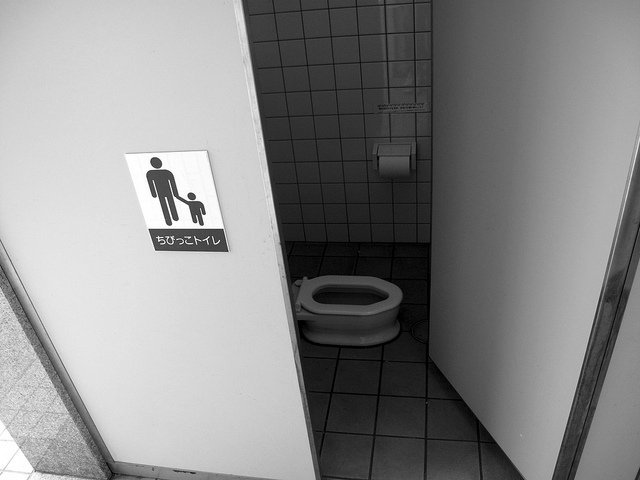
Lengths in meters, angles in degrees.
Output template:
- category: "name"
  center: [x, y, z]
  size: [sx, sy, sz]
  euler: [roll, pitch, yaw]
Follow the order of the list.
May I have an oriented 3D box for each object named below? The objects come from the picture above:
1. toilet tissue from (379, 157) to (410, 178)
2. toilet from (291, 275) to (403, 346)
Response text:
- category: "toilet tissue"
  center: [0.439, -0.432, 2.958]
  size: [0.152, 0.116, 0.138]
  euler: [1, 63, 11]
- category: "toilet"
  center: [0.159, 0.372, 2.699]
  size: [0.535, 0.192, 0.344]
  euler: [1, 29, 7]
